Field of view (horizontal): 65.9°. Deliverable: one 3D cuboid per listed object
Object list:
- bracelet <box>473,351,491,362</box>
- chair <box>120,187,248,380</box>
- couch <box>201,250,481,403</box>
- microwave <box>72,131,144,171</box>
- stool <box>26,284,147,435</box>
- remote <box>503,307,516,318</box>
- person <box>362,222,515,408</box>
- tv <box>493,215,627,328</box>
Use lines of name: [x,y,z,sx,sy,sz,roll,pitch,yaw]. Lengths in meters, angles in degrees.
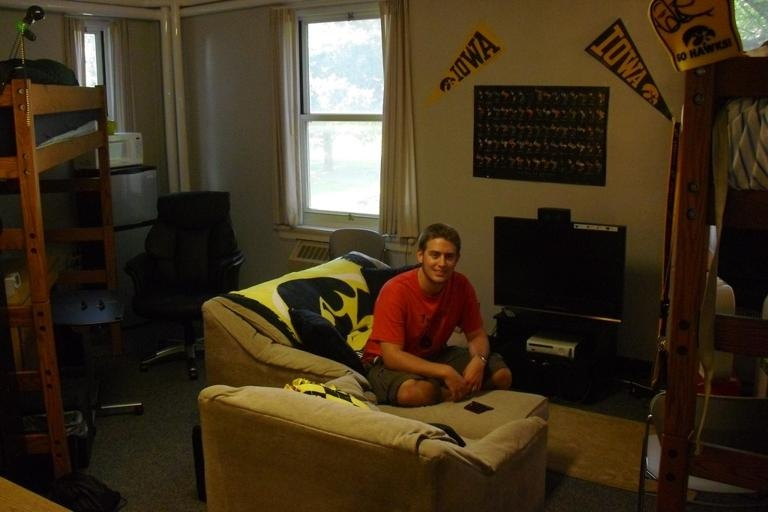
bracelet: [0.576,0.583,3.431,0.061,0.025,0.065,9,5,19]
chair: [-1.656,0.206,4.958,0.960,1.397,0.901,-2,12,-17]
couch: [-0.467,0.379,3.377,0.810,0.496,1.115,12,21,33]
microwave: [-2.586,-1.047,5.543,0.407,0.360,0.563,8,21,22]
stool: [-2.032,0.546,4.097,0.771,0.795,1.153,0,17,-7]
remote: [1.027,0.452,4.832,0.102,0.089,0.079,6,20,7]
person: [0.233,0.242,3.662,1.019,1.147,0.935,-4,5,-34]
tv: [1.294,0.111,4.326,0.807,0.602,0.108,4,6,27]
